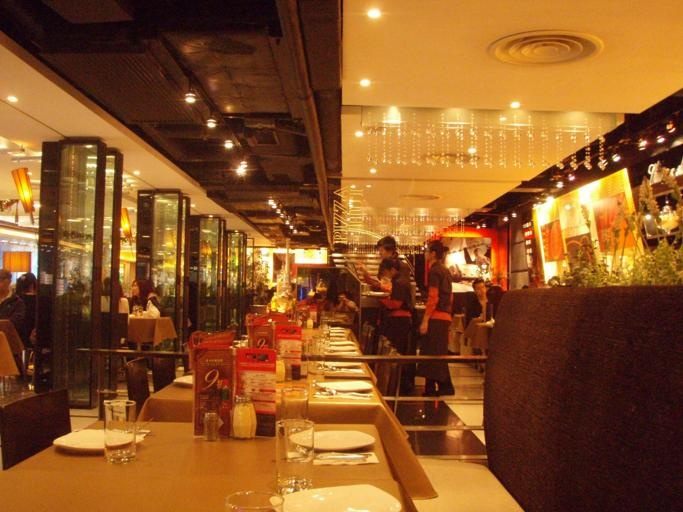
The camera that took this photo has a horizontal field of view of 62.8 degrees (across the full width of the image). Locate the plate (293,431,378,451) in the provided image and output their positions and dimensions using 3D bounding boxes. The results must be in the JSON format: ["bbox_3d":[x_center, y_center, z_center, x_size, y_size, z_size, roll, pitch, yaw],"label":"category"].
[{"bbox_3d":[-0.027,0.721,2.163,0.194,0.025,0.195,1,-7,2],"label":"plate"}]
